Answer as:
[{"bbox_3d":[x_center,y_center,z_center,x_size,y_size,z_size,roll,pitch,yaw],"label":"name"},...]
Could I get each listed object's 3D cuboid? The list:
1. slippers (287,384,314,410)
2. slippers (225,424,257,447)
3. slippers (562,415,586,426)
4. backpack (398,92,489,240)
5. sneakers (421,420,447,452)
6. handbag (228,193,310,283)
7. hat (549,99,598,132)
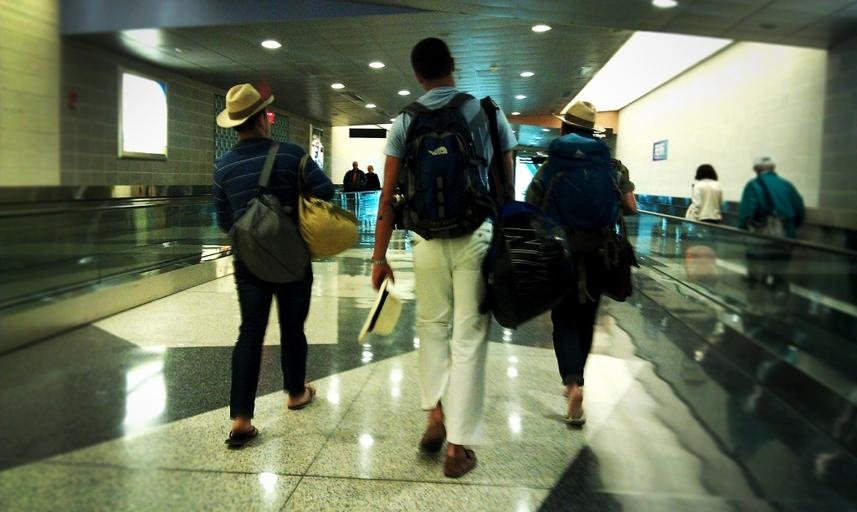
[{"bbox_3d":[-1.126,1.239,5.564,0.121,0.096,0.259,1,19,12],"label":"slippers"},{"bbox_3d":[-1.536,1.479,5.144,0.127,0.062,0.255,10,17,28],"label":"slippers"},{"bbox_3d":[1.227,1.393,5.353,0.172,0.070,0.075,2,-6,-15],"label":"slippers"},{"bbox_3d":[0.101,-0.705,4.978,0.754,1.127,0.230,-2,8,-5],"label":"backpack"},{"bbox_3d":[0.036,1.464,5.115,0.138,0.131,0.308,25,-47,-32],"label":"sneakers"},{"bbox_3d":[-1.307,-0.151,5.202,0.471,0.576,0.323,-40,20,3],"label":"handbag"},{"bbox_3d":[1.294,-1.244,5.640,0.288,0.109,0.300,15,16,-19],"label":"hat"}]
